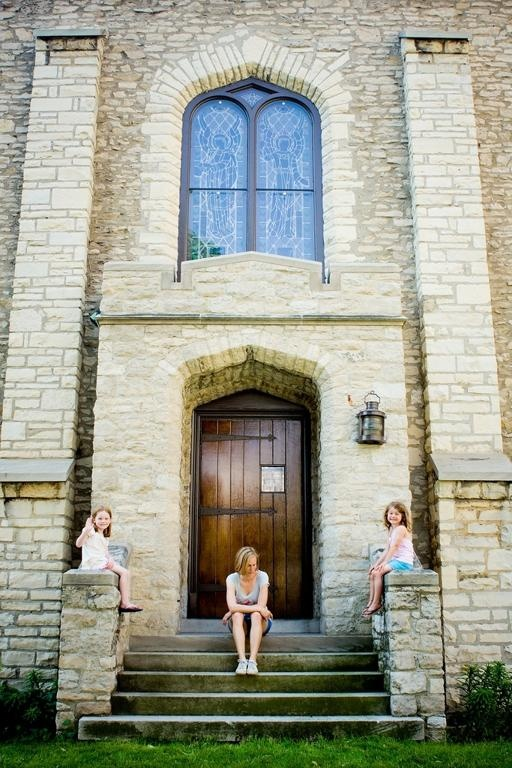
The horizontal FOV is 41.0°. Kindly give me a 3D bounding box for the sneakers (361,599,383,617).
[{"bbox_3d":[0.892,1.724,5.300,0.142,0.112,0.271,0,-14,8],"label":"sneakers"}]

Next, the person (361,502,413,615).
[{"bbox_3d":[1.042,1.334,5.263,0.414,0.858,0.605,3,-14,-7],"label":"person"}]

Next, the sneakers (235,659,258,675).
[{"bbox_3d":[-0.072,2.031,4.923,0.157,0.100,0.122,1,-14,3],"label":"sneakers"}]

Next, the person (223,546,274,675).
[{"bbox_3d":[-0.074,1.707,5.285,0.372,0.883,0.663,1,-14,1],"label":"person"}]

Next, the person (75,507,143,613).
[{"bbox_3d":[-1.138,1.330,5.278,0.504,0.771,0.748,5,-15,-14],"label":"person"}]

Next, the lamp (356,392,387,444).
[{"bbox_3d":[1.014,0.279,6.044,0.244,0.494,0.265,1,-14,4],"label":"lamp"}]

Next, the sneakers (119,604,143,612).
[{"bbox_3d":[-0.945,1.672,5.103,0.146,0.073,0.202,2,-14,-3],"label":"sneakers"}]
